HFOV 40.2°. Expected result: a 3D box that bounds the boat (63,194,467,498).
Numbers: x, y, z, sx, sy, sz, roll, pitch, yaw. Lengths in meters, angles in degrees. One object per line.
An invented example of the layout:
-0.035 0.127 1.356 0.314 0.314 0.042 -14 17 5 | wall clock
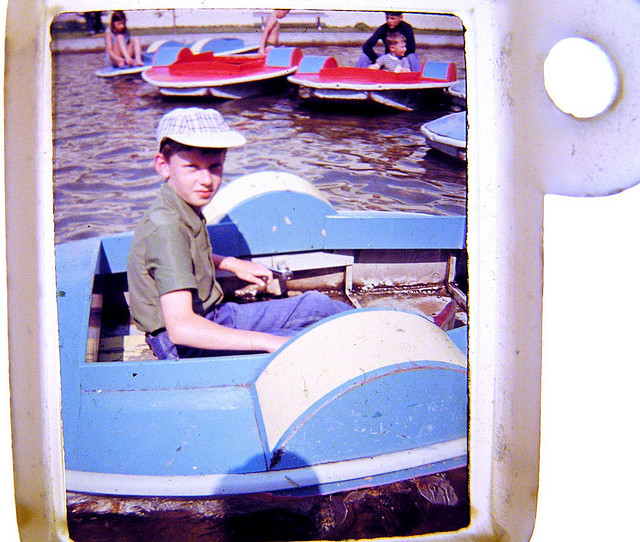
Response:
-0.122 0.100 1.894 0.852 0.574 0.950 1 0 8 | boat

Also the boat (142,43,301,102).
-0.480 -0.951 4.229 0.772 0.314 0.545 1 0 -1 | boat

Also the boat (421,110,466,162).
0.503 -0.558 3.577 0.177 0.251 0.423 1 0 7 | boat

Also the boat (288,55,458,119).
0.261 -0.864 4.087 0.808 0.276 0.440 1 0 -2 | boat
